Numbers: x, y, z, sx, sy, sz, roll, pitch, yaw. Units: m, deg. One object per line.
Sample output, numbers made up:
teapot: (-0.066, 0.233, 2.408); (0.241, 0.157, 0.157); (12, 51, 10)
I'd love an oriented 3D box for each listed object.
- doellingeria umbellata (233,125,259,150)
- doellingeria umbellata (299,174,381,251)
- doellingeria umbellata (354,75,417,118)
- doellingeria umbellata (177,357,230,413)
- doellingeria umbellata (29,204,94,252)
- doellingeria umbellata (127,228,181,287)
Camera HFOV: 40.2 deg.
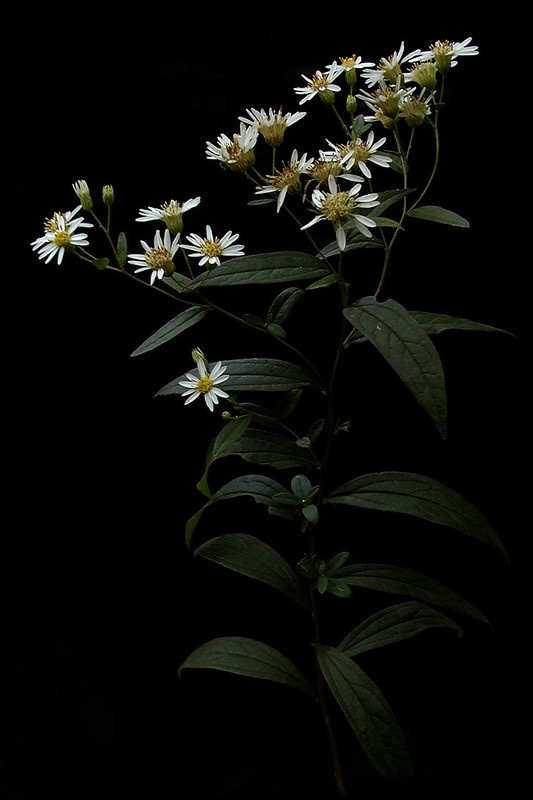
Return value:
doellingeria umbellata: (-0.042, -0.517, 1.451); (0.049, 0.054, 0.040); (-5, 8, -2)
doellingeria umbellata: (0.156, -0.362, 1.438); (0.131, 0.139, 0.240); (-3, 9, 9)
doellingeria umbellata: (0.237, -0.581, 1.435); (0.106, 0.071, 0.054); (-3, 8, 15)
doellingeria umbellata: (-0.129, -0.035, 1.512); (0.107, 0.122, 0.177); (-6, 9, -8)
doellingeria umbellata: (-0.422, -0.328, 1.511); (0.113, 0.055, 0.113); (-30, 18, 20)
doellingeria umbellata: (-0.241, -0.294, 1.511); (0.131, 0.109, 0.101); (3, 11, 42)
